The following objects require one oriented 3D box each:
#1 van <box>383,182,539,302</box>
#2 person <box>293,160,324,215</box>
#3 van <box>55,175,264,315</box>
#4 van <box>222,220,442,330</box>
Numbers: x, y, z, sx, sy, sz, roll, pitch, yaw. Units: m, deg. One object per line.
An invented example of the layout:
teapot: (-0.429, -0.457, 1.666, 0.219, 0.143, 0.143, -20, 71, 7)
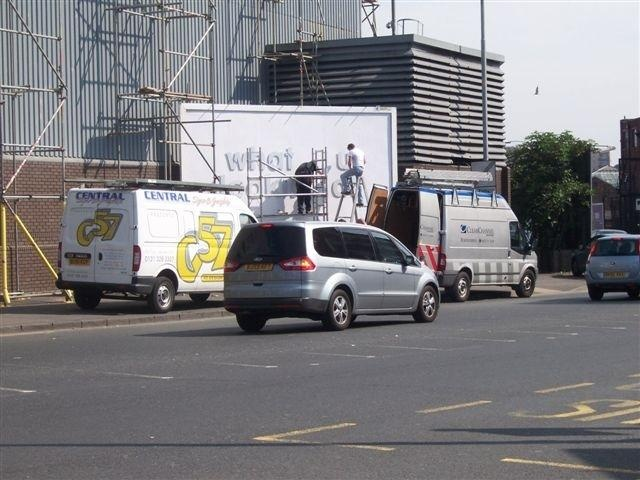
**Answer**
van: (3.675, -0.092, 32.731, 4.328, 2.501, 2.220, 0, -1, -44)
person: (-0.376, -1.680, 37.400, 0.816, 1.669, 1.365, 0, 6, 7)
van: (-3.740, -0.031, 28.381, 2.482, 2.464, 4.434, -1, 2, 37)
van: (0.215, 0.676, 24.194, 1.978, 1.583, 3.666, -3, -1, 43)
